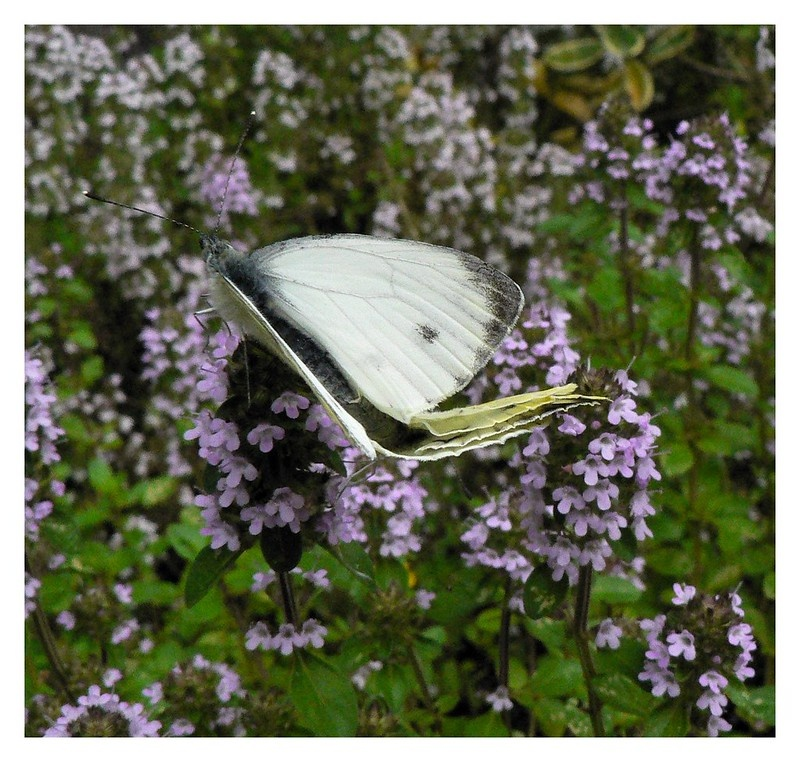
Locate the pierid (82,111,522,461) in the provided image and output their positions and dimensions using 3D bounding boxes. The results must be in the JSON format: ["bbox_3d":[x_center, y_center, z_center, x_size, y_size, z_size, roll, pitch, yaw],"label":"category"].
[{"bbox_3d":[-0.522,-0.171,5.161,1.790,1.427,0.689,29,51,16],"label":"pierid"}]
